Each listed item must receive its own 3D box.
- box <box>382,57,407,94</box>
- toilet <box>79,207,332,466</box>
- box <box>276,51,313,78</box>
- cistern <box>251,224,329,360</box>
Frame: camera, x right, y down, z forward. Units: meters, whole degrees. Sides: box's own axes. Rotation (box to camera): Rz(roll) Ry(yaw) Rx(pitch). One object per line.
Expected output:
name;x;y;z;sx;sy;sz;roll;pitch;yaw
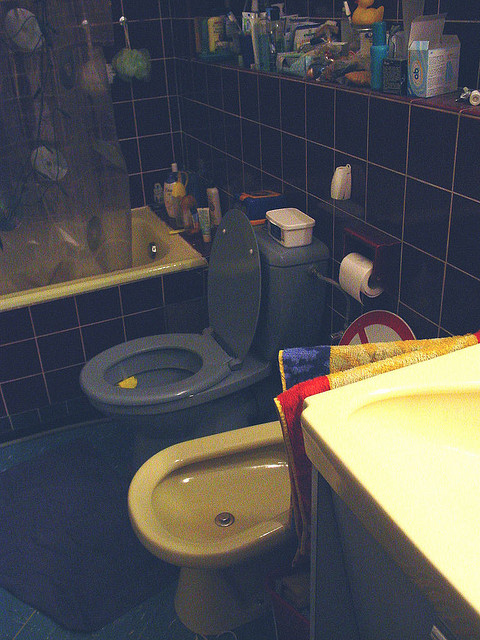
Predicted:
box;0.337;-0.535;1.089;0.036;0.074;0.041;-31;41;-34
toilet;-0.152;0.118;1.734;0.718;1.052;0.462;-3;19;-29
box;0.157;-0.767;1.503;0.028;0.062;0.234;-9;29;-15
cistern;0.099;-0.108;1.752;0.227;0.600;0.413;-4;29;-14
